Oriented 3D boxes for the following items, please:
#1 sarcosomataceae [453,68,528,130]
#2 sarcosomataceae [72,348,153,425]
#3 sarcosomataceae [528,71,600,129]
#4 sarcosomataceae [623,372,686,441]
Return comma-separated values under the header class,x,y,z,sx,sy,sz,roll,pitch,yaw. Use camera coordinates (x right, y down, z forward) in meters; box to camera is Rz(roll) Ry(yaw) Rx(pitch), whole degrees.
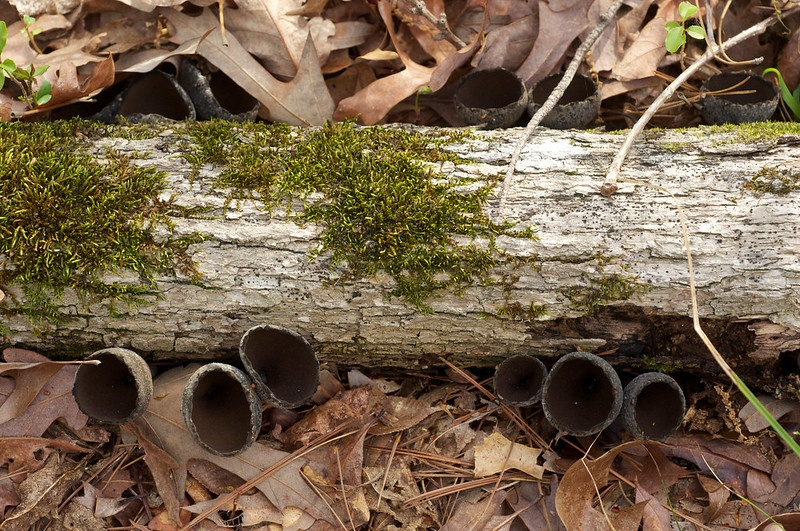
class,x,y,z,sx,sy,sz,roll,pitch,yaw
sarcosomataceae,0.656,-1.066,4.662,0.513,0.280,0.434,-8,64,2
sarcosomataceae,-1.672,0.725,3.988,0.427,0.514,0.298,-2,22,-8
sarcosomataceae,1.085,-1.033,4.641,0.510,0.321,0.439,-1,55,9
sarcosomataceae,1.532,0.799,4.138,0.396,0.392,0.270,3,6,6
